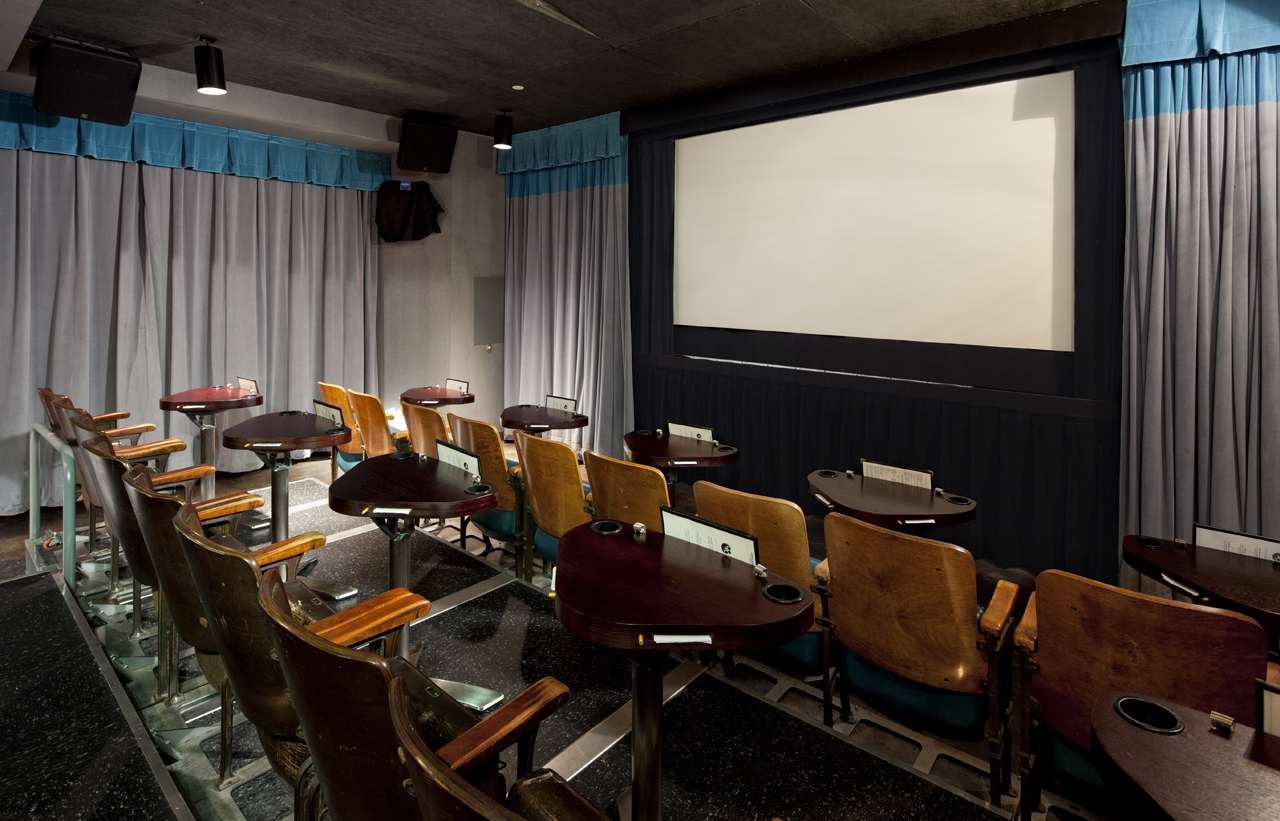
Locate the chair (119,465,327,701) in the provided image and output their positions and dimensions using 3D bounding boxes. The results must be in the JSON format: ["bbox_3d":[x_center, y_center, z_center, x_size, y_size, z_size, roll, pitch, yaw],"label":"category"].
[{"bbox_3d":[-2.372,0.845,4.515,1.068,1.478,1.180,-2,4,-33],"label":"chair"}]

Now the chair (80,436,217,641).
[{"bbox_3d":[-2.524,0.593,4.533,0.694,0.900,0.697,-3,17,-41],"label":"chair"}]

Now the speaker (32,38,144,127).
[{"bbox_3d":[-4.459,-2.620,6.658,0.366,0.626,0.763,29,19,17],"label":"speaker"}]

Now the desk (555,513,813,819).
[{"bbox_3d":[0.206,1.210,3.958,1.101,1.150,0.809,13,17,38],"label":"desk"}]

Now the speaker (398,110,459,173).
[{"bbox_3d":[-2.180,-2.678,8.483,0.571,0.510,0.179,-4,28,-39],"label":"speaker"}]

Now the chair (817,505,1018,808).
[{"bbox_3d":[1.493,1.154,4.377,0.839,1.301,1.005,-11,14,-36],"label":"chair"}]

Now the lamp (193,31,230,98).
[{"bbox_3d":[-3.321,-2.653,6.514,0.203,0.420,0.336,-6,9,-24],"label":"lamp"}]

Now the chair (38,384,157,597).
[{"bbox_3d":[-3.335,0.513,5.606,0.942,1.264,0.899,9,18,-26],"label":"chair"}]

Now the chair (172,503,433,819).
[{"bbox_3d":[-1.696,0.960,4.228,1.174,1.552,1.221,-3,5,-40],"label":"chair"}]

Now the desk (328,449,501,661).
[{"bbox_3d":[-1.261,0.790,4.887,1.276,1.226,0.849,3,5,8],"label":"desk"}]

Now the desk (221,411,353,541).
[{"bbox_3d":[-2.363,0.520,5.521,0.608,0.700,0.657,0,2,5],"label":"desk"}]

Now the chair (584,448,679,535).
[{"bbox_3d":[-0.070,0.443,5.194,0.425,0.724,0.501,6,9,34],"label":"chair"}]
